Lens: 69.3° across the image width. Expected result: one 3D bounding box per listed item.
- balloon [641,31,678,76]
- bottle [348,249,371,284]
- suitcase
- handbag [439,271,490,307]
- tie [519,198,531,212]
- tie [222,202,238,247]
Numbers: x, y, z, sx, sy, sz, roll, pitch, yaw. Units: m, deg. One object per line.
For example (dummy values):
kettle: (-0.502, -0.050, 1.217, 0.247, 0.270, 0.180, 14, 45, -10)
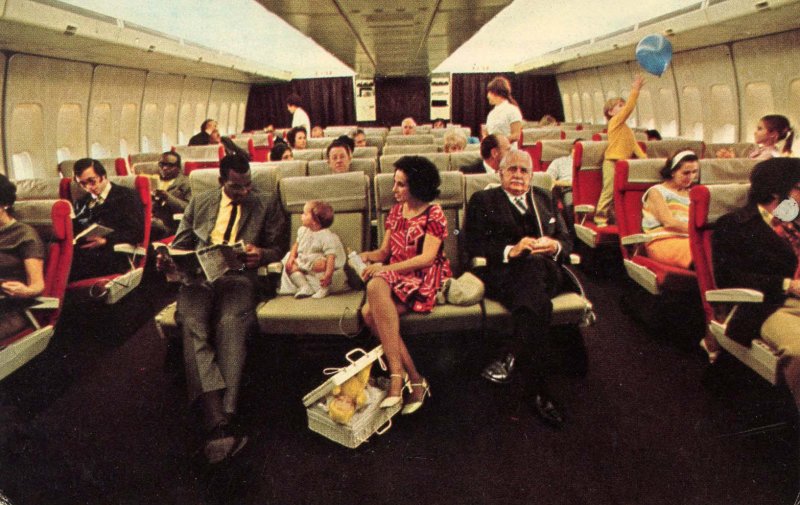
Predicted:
balloon: (2.366, -1.870, 5.330, 0.268, 0.387, 0.239, 4, 16, 29)
bottle: (-0.319, 0.128, 4.621, 0.128, 0.277, 0.402, -10, 14, -22)
suitcase: (-0.376, 1.172, 4.564, 0.753, 0.585, 0.884, 6, 14, 28)
handbag: (0.505, 0.311, 4.587, 0.298, 0.097, 0.265, -3, 37, 9)
tie: (0.999, -0.391, 4.690, 0.065, 0.103, 0.030, -30, 3, -14)
tie: (-1.341, -0.221, 4.685, 0.070, 0.437, 0.056, 15, -1, 0)
